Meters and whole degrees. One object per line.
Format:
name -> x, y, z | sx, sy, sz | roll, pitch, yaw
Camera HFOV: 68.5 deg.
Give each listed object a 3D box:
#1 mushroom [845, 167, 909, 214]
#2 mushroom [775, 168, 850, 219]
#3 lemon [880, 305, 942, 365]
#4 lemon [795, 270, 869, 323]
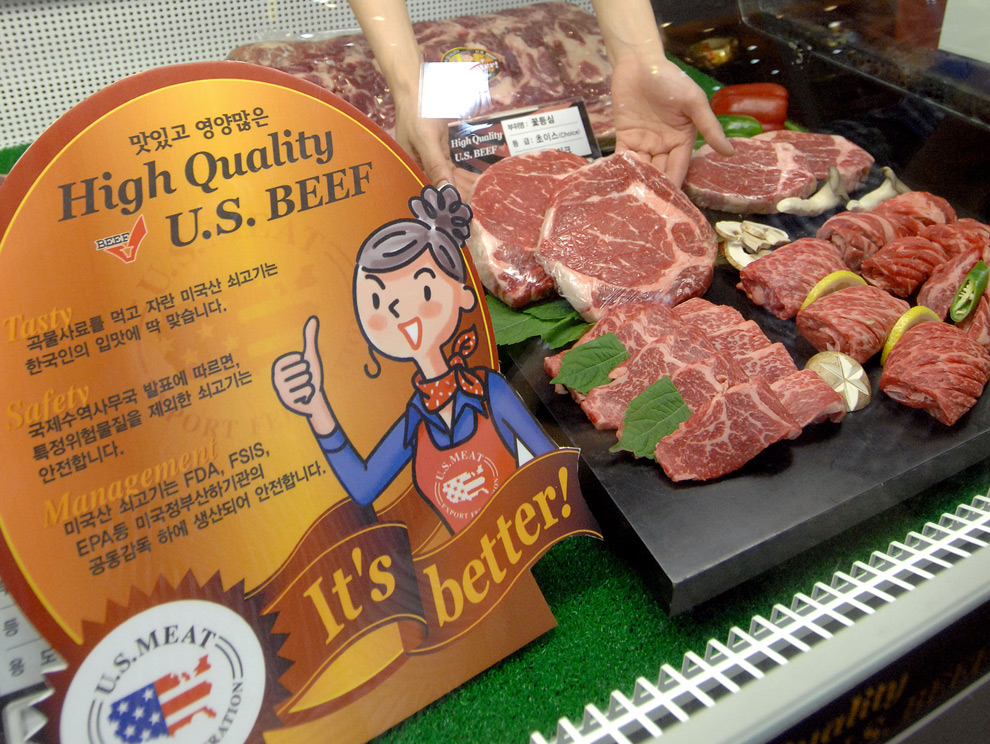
mushroom -> 1.083, -0.513, 2.057 | 0.225, 0.062, 0.113 | -33, 35, -22
mushroom -> 0.885, -0.478, 2.036 | 0.221, 0.098, 0.060 | -28, 33, -15
lemon -> 0.924, -0.095, 1.624 | 0.207, 0.068, 0.048 | -32, 35, -21
lemon -> 0.793, -0.192, 1.721 | 0.203, 0.062, 0.044 | -28, 33, -14
